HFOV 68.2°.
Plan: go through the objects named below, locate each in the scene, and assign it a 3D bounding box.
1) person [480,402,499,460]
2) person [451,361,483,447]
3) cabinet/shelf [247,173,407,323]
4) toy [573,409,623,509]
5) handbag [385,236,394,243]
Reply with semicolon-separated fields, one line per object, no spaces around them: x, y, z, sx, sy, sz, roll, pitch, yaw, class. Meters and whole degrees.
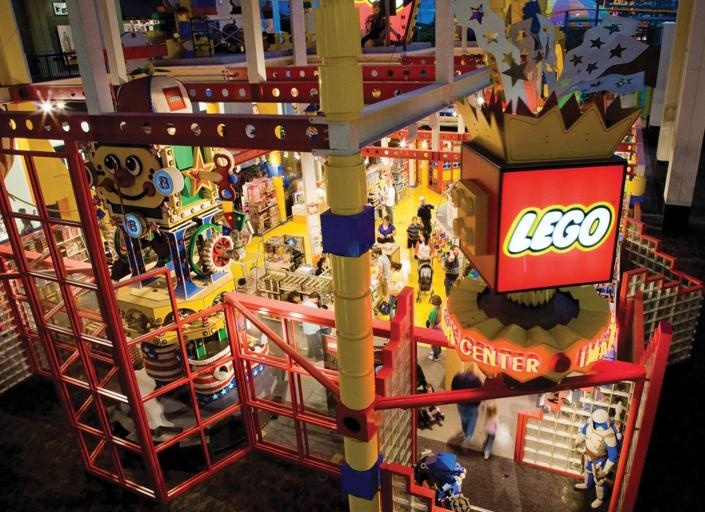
1.972;2.458;7.426;0.187;0.748;0.427;6;25;21;person
1.625;2.128;7.514;0.449;1.230;0.442;8;25;24;person
-0.567;-0.133;9.270;2.652;0.858;2.690;6;32;11;cabinet/shelf
3.119;2.525;6.660;0.505;1.404;0.489;10;26;28;toy
0.929;-0.416;12.757;0.181;0.160;0.501;0;-7;19;handbag
